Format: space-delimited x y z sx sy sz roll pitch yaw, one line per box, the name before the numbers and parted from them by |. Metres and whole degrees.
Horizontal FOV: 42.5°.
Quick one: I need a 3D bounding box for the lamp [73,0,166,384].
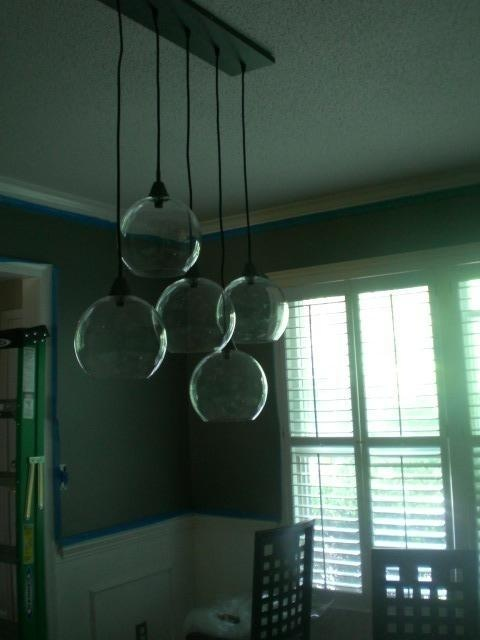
lamp | -0.298 -0.331 1.448 0.177 0.958 0.732 -1 -6 -14
